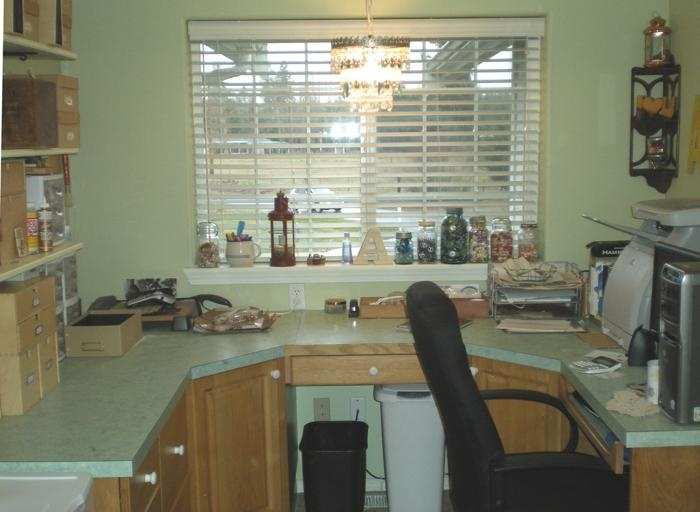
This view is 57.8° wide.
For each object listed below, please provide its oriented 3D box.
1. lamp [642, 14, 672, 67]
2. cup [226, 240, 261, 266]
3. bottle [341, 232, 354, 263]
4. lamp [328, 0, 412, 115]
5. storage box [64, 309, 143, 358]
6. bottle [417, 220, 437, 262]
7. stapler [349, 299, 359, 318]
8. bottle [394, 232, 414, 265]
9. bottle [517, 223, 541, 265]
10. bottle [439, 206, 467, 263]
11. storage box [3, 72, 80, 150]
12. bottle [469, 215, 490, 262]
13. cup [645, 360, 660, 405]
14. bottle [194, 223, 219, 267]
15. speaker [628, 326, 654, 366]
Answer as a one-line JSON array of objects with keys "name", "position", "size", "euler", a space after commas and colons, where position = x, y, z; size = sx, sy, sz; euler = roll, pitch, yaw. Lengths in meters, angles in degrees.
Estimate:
[{"name": "lamp", "position": [1.601, -1.112, 3.294], "size": [0.156, 0.236, 0.154], "euler": [5, 24, 34]}, {"name": "cup", "position": [-0.579, -0.012, 3.426], "size": [0.166, 0.114, 0.126], "euler": [0, -1, -20]}, {"name": "bottle", "position": [-0.017, -0.050, 3.564], "size": [0.062, 0.167, 0.089], "euler": [-2, 9, 0]}, {"name": "lamp", "position": [0.084, -0.892, 2.878], "size": [0.381, 0.647, 0.373], "euler": [-1, 8, -2]}, {"name": "storage box", "position": [-1.150, 0.349, 2.960], "size": [0.237, 0.124, 0.320], "euler": [0, 10, -5]}, {"name": "bottle", "position": [0.431, -0.086, 3.565], "size": [0.120, 0.241, 0.218], "euler": [-1, 9, 6]}, {"name": "stapler", "position": [0.023, 0.288, 3.400], "size": [0.076, 0.064, 0.075], "euler": [0, -2, 0]}, {"name": "bottle", "position": [0.296, -0.046, 3.511], "size": [0.101, 0.181, 0.079], "euler": [-2, 9, 0]}, {"name": "bottle", "position": [0.976, -0.078, 3.478], "size": [0.111, 0.211, 0.174], "euler": [1, 9, 16]}, {"name": "bottle", "position": [0.571, -0.117, 3.524], "size": [0.158, 0.311, 0.120], "euler": [1, 9, 15]}, {"name": "storage box", "position": [-1.183, -0.549, 2.421], "size": [0.192, 0.232, 0.348], "euler": [0, 10, -7]}, {"name": "bottle", "position": [0.717, -0.097, 3.530], "size": [0.122, 0.254, 0.086], "euler": [-1, 9, 3]}, {"name": "cup", "position": [1.087, 0.447, 2.277], "size": [0.034, 0.149, 0.055], "euler": [1, 9, 20]}, {"name": "bottle", "position": [-0.794, -0.057, 3.532], "size": [0.140, 0.244, 0.137], "euler": [0, -2, 0]}, {"name": "speaker", "position": [1.189, 0.365, 2.588], "size": [0.103, 0.161, 0.048], "euler": [1, 9, 17]}]
